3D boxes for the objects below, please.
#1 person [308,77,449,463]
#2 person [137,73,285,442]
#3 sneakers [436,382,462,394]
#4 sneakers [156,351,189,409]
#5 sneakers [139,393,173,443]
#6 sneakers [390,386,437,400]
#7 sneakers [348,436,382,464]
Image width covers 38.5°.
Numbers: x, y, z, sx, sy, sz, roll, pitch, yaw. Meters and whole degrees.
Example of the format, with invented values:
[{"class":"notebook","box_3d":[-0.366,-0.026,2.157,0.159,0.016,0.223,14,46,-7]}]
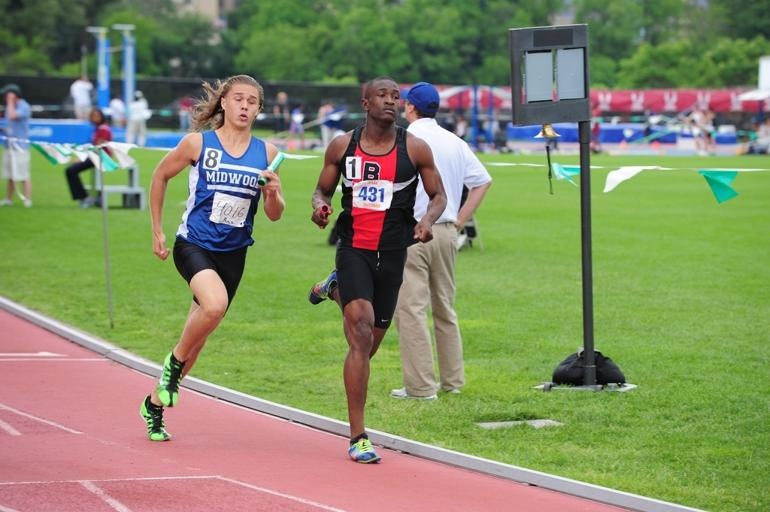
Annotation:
[{"class":"person","box_3d":[-0.079,0.084,9.473,1.041,3.215,0.879,-3,9,-27]},{"class":"person","box_3d":[-1.548,-0.015,9.697,1.272,3.140,0.916,-3,9,-25]},{"class":"sneakers","box_3d":[0.622,1.295,10.786,0.276,0.106,0.096,-3,-4,42]},{"class":"sneakers","box_3d":[-1.855,1.086,9.470,0.194,0.518,0.235,15,-42,-28]},{"class":"sneakers","box_3d":[-2.004,1.439,9.550,0.178,0.491,0.226,-15,-23,-27]},{"class":"sneakers","box_3d":[0.277,1.338,10.689,0.390,0.146,0.161,4,3,18]},{"class":"sneakers","box_3d":[-0.186,1.633,9.294,0.158,0.141,0.324,-5,6,-39]}]
